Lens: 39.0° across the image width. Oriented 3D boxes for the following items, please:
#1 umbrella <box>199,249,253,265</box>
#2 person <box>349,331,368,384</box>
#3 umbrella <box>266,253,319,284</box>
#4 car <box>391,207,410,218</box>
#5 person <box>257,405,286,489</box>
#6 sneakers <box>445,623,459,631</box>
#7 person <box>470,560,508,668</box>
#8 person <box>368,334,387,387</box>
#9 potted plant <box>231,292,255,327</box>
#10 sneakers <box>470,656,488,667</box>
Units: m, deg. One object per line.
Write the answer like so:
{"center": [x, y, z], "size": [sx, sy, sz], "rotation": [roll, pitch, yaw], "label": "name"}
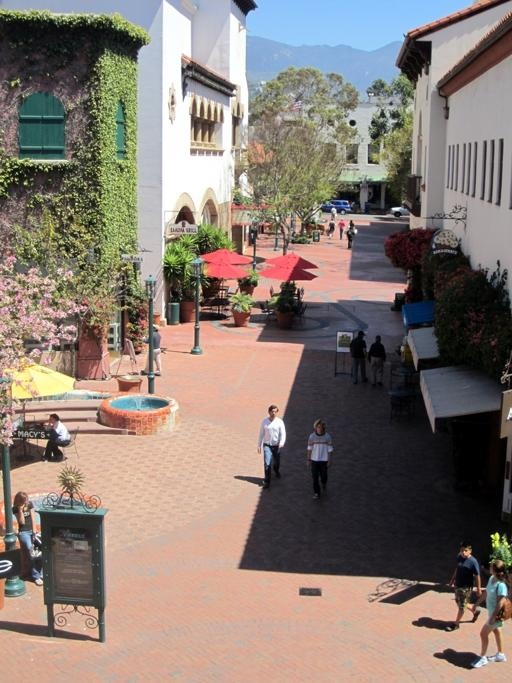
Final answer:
{"center": [-1.297, -3.447, 29.534], "size": [1.448, 0.666, 1.430], "rotation": [-3, 13, -3], "label": "umbrella"}
{"center": [2.957, 0.406, 20.753], "size": [0.473, 1.471, 0.863], "rotation": [1, 8, 7], "label": "person"}
{"center": [1.301, -2.814, 28.043], "size": [1.911, 0.955, 1.872], "rotation": [-4, 12, -30], "label": "umbrella"}
{"center": [17.856, -16.091, 90.057], "size": [1.936, 1.175, 1.506], "rotation": [0, 8, 1], "label": "car"}
{"center": [0.297, 1.803, 13.111], "size": [0.456, 1.462, 1.040], "rotation": [0, 8, 2], "label": "person"}
{"center": [2.122, 3.066, 7.799], "size": [0.059, 0.064, 0.164], "rotation": [-8, -9, 42], "label": "sneakers"}
{"center": [2.327, 2.610, 7.052], "size": [0.295, 1.068, 0.814], "rotation": [3, 9, 22], "label": "person"}
{"center": [3.354, 0.513, 20.144], "size": [0.424, 1.481, 0.971], "rotation": [1, 8, 9], "label": "person"}
{"center": [-0.541, -1.290, 28.655], "size": [1.207, 1.454, 1.147], "rotation": [1, 6, -1], "label": "potted plant"}
{"center": [2.129, 3.034, 6.887], "size": [0.188, 0.075, 0.062], "rotation": [-2, 6, -38], "label": "sneakers"}
